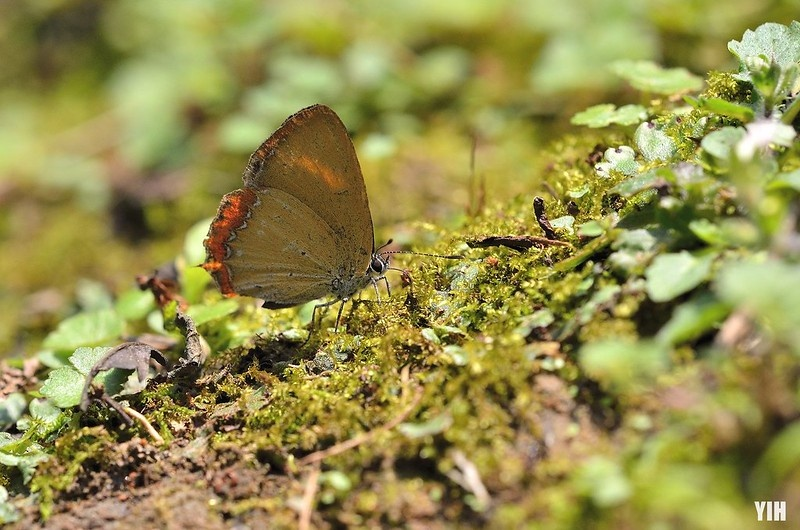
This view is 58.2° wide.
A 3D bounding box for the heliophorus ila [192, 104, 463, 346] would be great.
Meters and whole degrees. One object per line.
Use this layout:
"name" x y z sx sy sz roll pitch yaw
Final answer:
"heliophorus ila" -0.600 -0.290 4.441 1.026 0.478 1.231 26 82 6
